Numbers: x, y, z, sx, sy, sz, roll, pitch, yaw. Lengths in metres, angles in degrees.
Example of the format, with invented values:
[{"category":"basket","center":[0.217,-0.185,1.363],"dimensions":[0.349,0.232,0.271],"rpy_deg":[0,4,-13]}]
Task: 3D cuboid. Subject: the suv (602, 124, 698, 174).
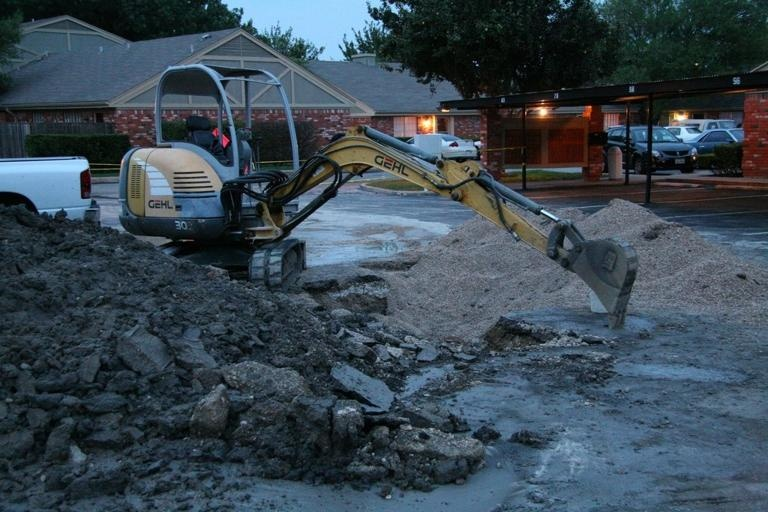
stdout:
[{"category":"suv","center":[12.889,-5.516,29.120],"dimensions":[3.024,1.802,4.587],"rpy_deg":[-3,7,-22]}]
